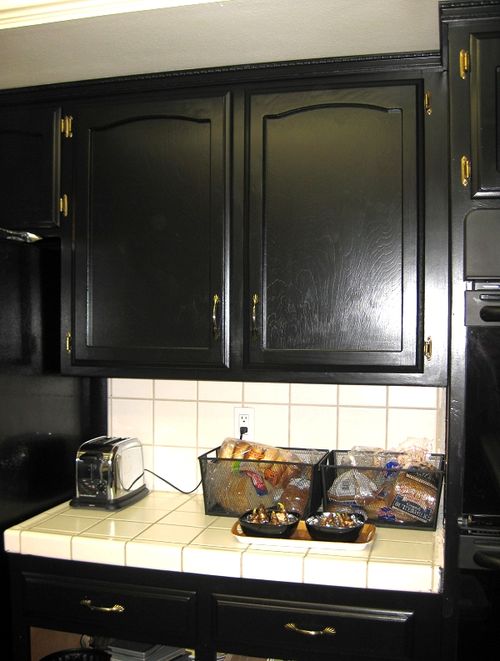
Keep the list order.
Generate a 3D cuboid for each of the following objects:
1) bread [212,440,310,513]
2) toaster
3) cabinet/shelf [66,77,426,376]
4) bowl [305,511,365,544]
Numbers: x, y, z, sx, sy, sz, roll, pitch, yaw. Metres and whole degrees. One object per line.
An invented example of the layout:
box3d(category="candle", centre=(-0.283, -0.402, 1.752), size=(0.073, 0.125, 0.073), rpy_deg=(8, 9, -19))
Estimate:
box3d(category="bread", centre=(0.037, 0.427, 1.775), size=(0.274, 0.200, 0.145), rpy_deg=(0, 3, 5))
box3d(category="toaster", centre=(-0.437, 0.444, 1.973), size=(0.169, 0.200, 0.252), rpy_deg=(-1, -2, 11))
box3d(category="cabinet/shelf", centre=(-0.002, -0.266, 1.856), size=(1.050, 0.825, 0.391), rpy_deg=(1, 2, 11))
box3d(category="bowl", centre=(0.219, 0.493, 1.579), size=(0.142, 0.055, 0.133), rpy_deg=(0, 3, 0))
